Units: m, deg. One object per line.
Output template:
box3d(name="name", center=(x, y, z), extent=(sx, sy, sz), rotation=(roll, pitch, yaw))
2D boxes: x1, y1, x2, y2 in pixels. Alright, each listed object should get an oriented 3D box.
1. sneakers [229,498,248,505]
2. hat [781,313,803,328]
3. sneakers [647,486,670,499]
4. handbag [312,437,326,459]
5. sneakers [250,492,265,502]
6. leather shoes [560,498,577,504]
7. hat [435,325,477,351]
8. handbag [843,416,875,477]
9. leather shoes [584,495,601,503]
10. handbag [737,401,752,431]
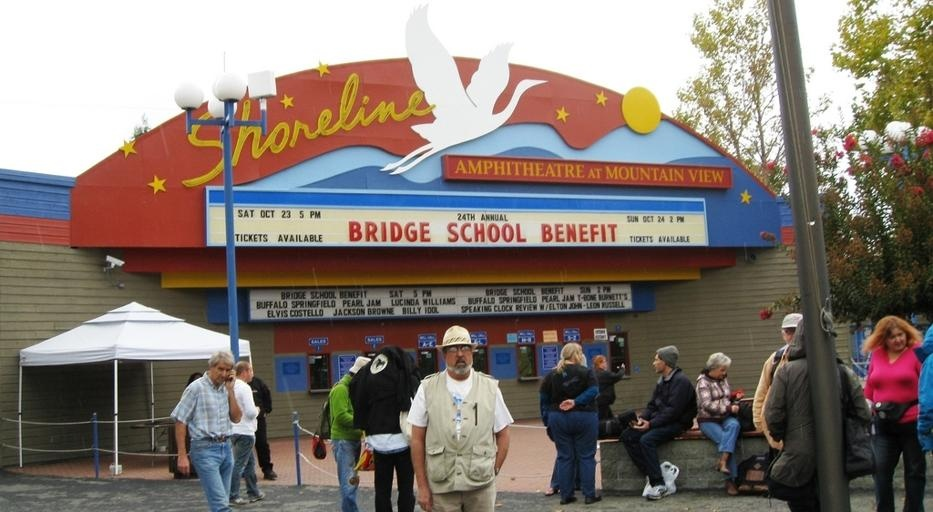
box3d(name="sneakers", center=(-5.368, 5.799, 21.337), extent=(0.411, 0.167, 0.140), rotation=(0, 12, -33))
box3d(name="hat", center=(6.917, 1.344, 19.196), extent=(0.429, 0.262, 0.524), rotation=(-1, -19, 4))
box3d(name="sneakers", center=(4.332, 5.363, 20.416), extent=(0.603, 0.225, 0.209), rotation=(-1, -2, -33))
box3d(name="handbag", center=(-3.287, 4.265, 20.157), extent=(0.221, 0.482, 0.455), rotation=(0, -8, -15))
box3d(name="sneakers", center=(-4.990, 5.771, 21.555), extent=(0.143, 0.139, 0.341), rotation=(9, 12, 38))
box3d(name="leather shoes", center=(2.338, 5.548, 20.536), extent=(0.378, 0.157, 0.134), rotation=(-9, 9, -28))
box3d(name="hat", center=(-0.164, 1.500, 16.766), extent=(0.547, 0.410, 0.385), rotation=(-2, -8, -2))
box3d(name="handbag", center=(7.416, 3.587, 16.949), extent=(0.693, 1.133, 0.343), rotation=(3, -10, -33))
box3d(name="leather shoes", center=(2.860, 5.499, 20.405), extent=(0.395, 0.159, 0.140), rotation=(-6, 5, -29))
box3d(name="handbag", center=(6.451, 3.692, 20.762), extent=(0.463, 0.570, 0.236), rotation=(0, 0, 15))
